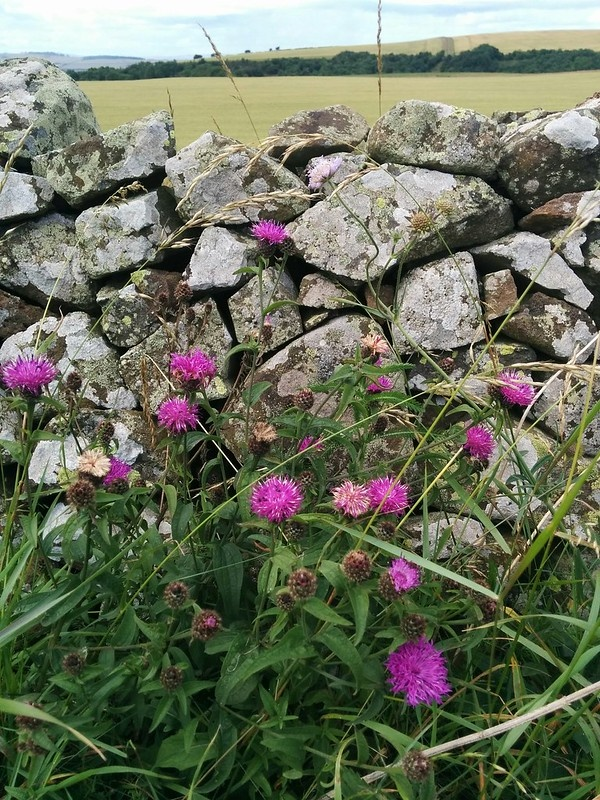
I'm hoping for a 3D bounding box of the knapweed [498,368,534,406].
[{"bbox_3d":[0.608,-0.035,1.984,0.096,0.067,0.097,44,8,26],"label":"knapweed"}]

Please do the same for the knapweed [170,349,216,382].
[{"bbox_3d":[-0.303,-0.103,2.042,0.123,0.068,0.119,-6,21,-29],"label":"knapweed"}]

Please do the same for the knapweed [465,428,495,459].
[{"bbox_3d":[0.511,0.123,2.010,0.068,0.066,0.066,-30,-1,22],"label":"knapweed"}]

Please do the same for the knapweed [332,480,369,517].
[{"bbox_3d":[0.122,0.232,1.706,0.088,0.065,0.085,5,10,9],"label":"knapweed"}]

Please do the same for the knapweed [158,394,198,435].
[{"bbox_3d":[-0.337,0.039,2.004,0.112,0.097,0.107,-2,29,-2],"label":"knapweed"}]

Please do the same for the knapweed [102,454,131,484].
[{"bbox_3d":[-0.494,0.192,1.909,0.069,0.047,0.066,-4,41,-7],"label":"knapweed"}]

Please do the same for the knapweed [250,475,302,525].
[{"bbox_3d":[-0.065,0.244,1.727,0.123,0.080,0.116,-2,37,-2],"label":"knapweed"}]

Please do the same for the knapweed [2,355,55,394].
[{"bbox_3d":[-0.719,-0.053,1.842,0.113,0.075,0.110,19,43,14],"label":"knapweed"}]
